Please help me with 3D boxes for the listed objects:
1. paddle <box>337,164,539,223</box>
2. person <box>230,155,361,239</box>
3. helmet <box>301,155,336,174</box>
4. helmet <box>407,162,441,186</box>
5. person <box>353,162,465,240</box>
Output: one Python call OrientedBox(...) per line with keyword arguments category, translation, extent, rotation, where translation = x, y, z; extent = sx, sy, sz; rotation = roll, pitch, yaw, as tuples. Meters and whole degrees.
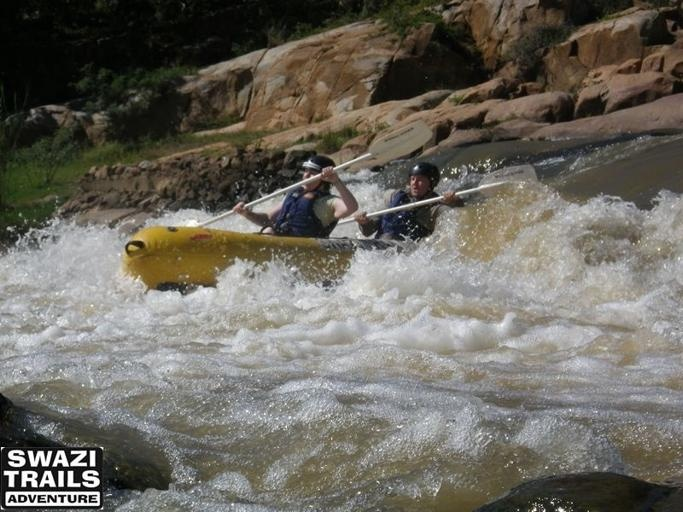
OrientedBox(category="paddle", translation=(1.719, -1.019, 16.851), extent=(3.410, 0.490, 0.156), rotation=(-16, 27, 6))
OrientedBox(category="person", translation=(-0.772, -1.005, 17.701), extent=(2.139, 0.784, 1.219), rotation=(-43, 37, -20))
OrientedBox(category="helmet", translation=(-0.350, -1.465, 16.085), extent=(0.404, 0.144, 0.279), rotation=(8, 2, -27))
OrientedBox(category="helmet", translation=(1.347, -1.304, 16.224), extent=(0.452, 0.344, 0.340), rotation=(8, 1, -27))
OrientedBox(category="person", translation=(1.189, -0.896, 17.034), extent=(1.215, 0.654, 1.855), rotation=(16, 49, 38))
